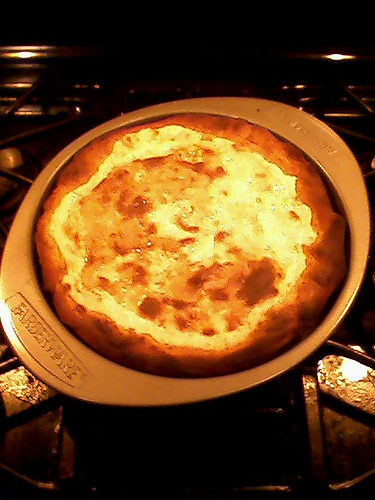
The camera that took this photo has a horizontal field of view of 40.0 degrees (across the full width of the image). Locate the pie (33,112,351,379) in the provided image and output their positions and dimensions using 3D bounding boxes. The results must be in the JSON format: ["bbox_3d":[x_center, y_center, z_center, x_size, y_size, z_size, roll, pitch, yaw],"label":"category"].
[{"bbox_3d":[0.003,-0.016,1.693,1.060,0.218,0.788,-1,69,5],"label":"pie"}]
